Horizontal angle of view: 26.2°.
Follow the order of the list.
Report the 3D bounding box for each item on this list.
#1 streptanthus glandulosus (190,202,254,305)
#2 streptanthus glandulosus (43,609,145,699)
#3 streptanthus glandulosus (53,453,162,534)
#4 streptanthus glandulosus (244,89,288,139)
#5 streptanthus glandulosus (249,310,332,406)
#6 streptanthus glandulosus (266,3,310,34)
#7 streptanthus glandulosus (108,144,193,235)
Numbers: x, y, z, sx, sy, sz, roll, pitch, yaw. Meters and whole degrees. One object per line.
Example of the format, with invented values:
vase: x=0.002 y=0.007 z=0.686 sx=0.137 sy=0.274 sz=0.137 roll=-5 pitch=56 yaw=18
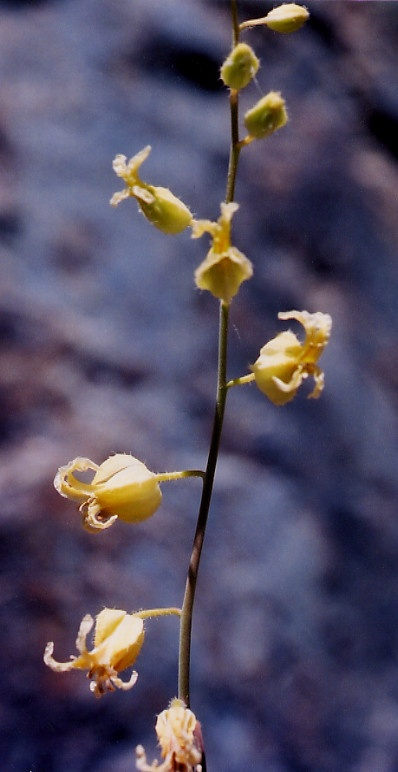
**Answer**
streptanthus glandulosus: x=0.032 y=-0.204 z=1.285 sx=0.090 sy=0.147 sz=0.125 roll=4 pitch=23 yaw=-1
streptanthus glandulosus: x=-0.159 y=0.406 z=1.311 sx=0.137 sy=0.171 sz=0.128 roll=6 pitch=23 yaw=2
streptanthus glandulosus: x=-0.142 y=0.167 z=1.328 sx=0.143 sy=0.102 sz=0.096 roll=-10 pitch=27 yaw=-31
streptanthus glandulosus: x=0.096 y=-0.401 z=1.274 sx=0.059 sy=0.069 sz=0.046 roll=-4 pitch=25 yaw=-19
streptanthus glandulosus: x=0.145 y=-0.040 z=1.309 sx=0.110 sy=0.133 sz=0.077 roll=-9 pitch=27 yaw=-30
streptanthus glandulosus: x=0.139 y=-0.570 z=1.330 sx=0.059 sy=0.041 sz=0.056 roll=13 pitch=24 yaw=18
streptanthus glandulosus: x=-0.065 y=-0.293 z=1.362 sx=0.149 sy=0.109 sz=0.058 roll=41 pitch=-15 yaw=-3
